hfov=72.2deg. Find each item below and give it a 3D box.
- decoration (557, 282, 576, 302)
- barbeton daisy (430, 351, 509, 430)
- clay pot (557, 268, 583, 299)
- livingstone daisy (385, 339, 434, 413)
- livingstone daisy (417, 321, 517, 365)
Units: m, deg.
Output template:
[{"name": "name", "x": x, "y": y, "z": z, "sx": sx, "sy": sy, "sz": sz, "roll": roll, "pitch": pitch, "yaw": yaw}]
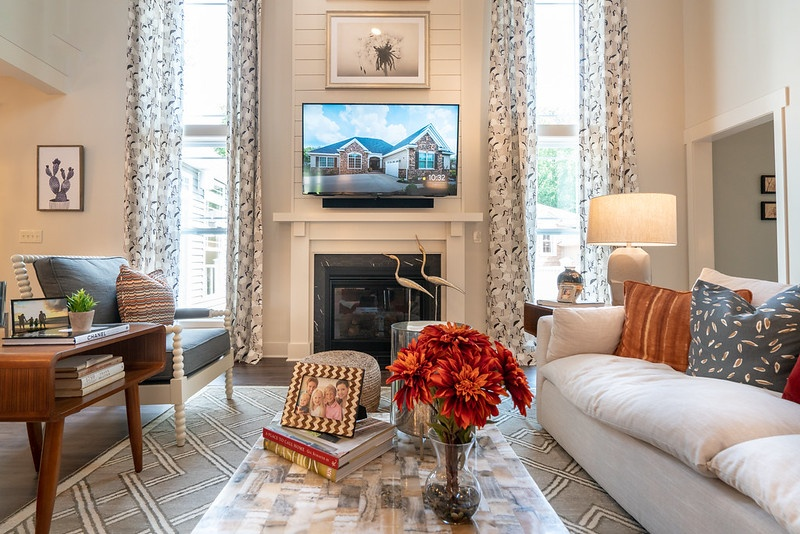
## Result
[{"name": "decoration", "x": 1.372, "y": 0.205, "z": 4.516, "sx": 0.142, "sy": 0.143, "sz": 0.047, "roll": 4, "pitch": -6, "yaw": 37}, {"name": "barbeton daisy", "x": 0.352, "y": 0.626, "z": 2.815, "sx": 0.391, "sy": 0.389, "sz": 0.150, "roll": 3, "pitch": -9, "yaw": -9}, {"name": "clay pot", "x": 1.416, "y": 0.147, "z": 4.616, "sx": 0.244, "sy": 0.297, "sz": 0.228, "roll": 1, "pitch": -4, "yaw": 0}, {"name": "livingstone daisy", "x": 0.058, "y": 0.560, "z": 2.864, "sx": 0.256, "sy": 0.357, "sz": 0.249, "roll": 0, "pitch": 2, "yaw": 4}, {"name": "livingstone daisy", "x": 0.356, "y": 0.361, "z": 3.023, "sx": 0.381, "sy": 0.223, "sz": 0.445, "roll": 8, "pitch": 2, "yaw": -6}]
